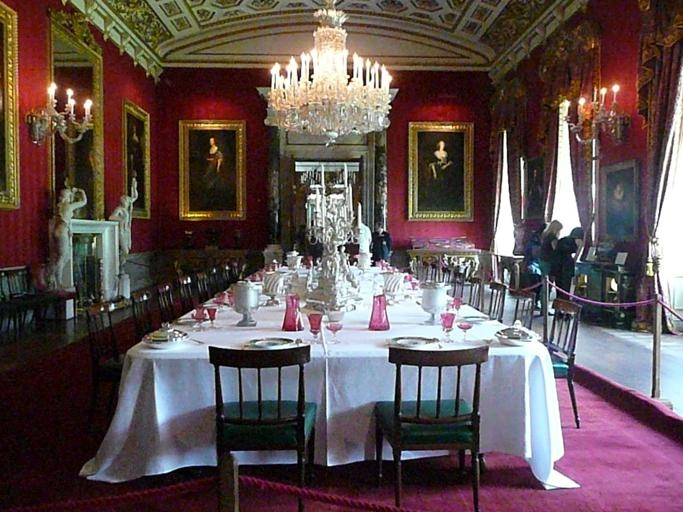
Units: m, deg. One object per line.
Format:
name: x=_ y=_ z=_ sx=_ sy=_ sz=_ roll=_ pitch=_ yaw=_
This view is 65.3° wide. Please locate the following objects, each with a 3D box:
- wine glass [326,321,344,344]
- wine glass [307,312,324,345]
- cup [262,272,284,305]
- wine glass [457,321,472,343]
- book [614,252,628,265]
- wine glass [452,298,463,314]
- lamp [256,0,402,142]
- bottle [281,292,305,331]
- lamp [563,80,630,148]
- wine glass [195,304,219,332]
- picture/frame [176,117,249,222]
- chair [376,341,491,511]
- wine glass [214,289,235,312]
wine glass: x=-0.054 y=0.607 z=4.215 sx=0.130 sy=0.148 sz=0.134 roll=0 pitch=-4 yaw=-5
wine glass: x=-0.183 y=0.577 z=4.314 sx=0.168 sy=0.264 sz=0.185 roll=-2 pitch=4 yaw=7
cup: x=-0.726 y=0.351 z=5.677 sx=0.278 sy=0.374 sz=0.280 roll=0 pitch=-5 yaw=0
wine glass: x=1.012 y=0.631 z=4.368 sx=0.123 sy=0.155 sz=0.135 roll=-1 pitch=-6 yaw=0
book: x=4.371 y=0.045 z=8.348 sx=0.211 sy=0.306 sz=0.031 roll=-5 pitch=-44 yaw=39
wine glass: x=1.088 y=0.472 z=5.045 sx=0.106 sy=0.190 sz=0.110 roll=-2 pitch=5 yaw=-6
lamp: x=-0.163 y=-2.570 z=7.386 sx=1.652 sy=2.042 sz=0.791 roll=2 pitch=4 yaw=4
bottle: x=-0.415 y=0.472 z=4.530 sx=0.227 sy=0.402 sz=0.248 roll=1 pitch=8 yaw=0
lamp: x=4.149 y=-2.264 z=8.885 sx=0.805 sy=1.375 sz=1.015 roll=2 pitch=0 yaw=-23
wine glass: x=-1.188 y=0.531 z=4.662 sx=0.241 sy=0.197 sz=0.162 roll=-2 pitch=3 yaw=10
picture/frame: x=-3.328 y=-2.314 z=13.595 sx=2.191 sy=3.734 sz=0.141 roll=0 pitch=-1 yaw=-2
chair: x=0.638 y=1.190 z=3.825 sx=0.810 sy=1.187 sz=0.534 roll=1 pitch=4 yaw=4
wine glass: x=-1.152 y=0.445 z=5.295 sx=0.198 sy=0.186 sz=0.206 roll=1 pitch=-2 yaw=-22
